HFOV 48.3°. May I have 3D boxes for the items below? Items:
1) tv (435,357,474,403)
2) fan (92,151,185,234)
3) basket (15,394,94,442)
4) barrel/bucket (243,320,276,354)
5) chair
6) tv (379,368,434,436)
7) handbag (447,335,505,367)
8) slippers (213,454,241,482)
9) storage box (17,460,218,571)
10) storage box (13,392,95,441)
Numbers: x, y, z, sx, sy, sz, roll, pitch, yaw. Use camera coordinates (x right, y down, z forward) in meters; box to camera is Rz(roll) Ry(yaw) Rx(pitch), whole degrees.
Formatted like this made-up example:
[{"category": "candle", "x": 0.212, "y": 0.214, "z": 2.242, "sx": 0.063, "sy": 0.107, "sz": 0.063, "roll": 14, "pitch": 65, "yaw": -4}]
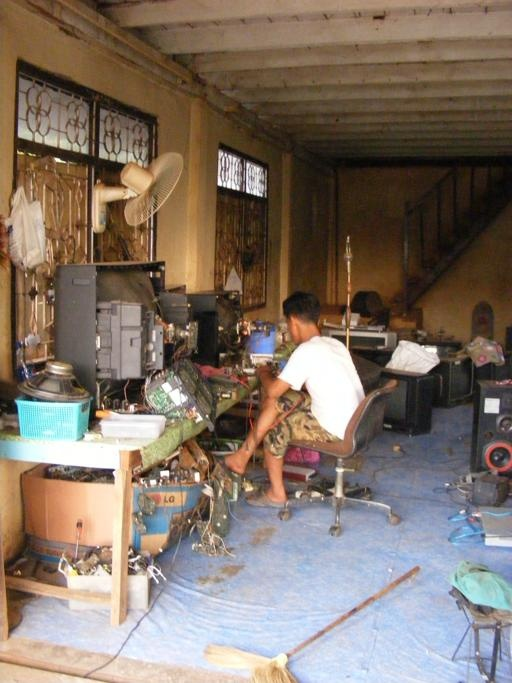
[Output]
[{"category": "tv", "x": 2.280, "y": 0.465, "z": 6.707, "sx": 0.561, "sy": 0.532, "sz": 0.316, "roll": -6, "pitch": 7, "yaw": -42}, {"category": "fan", "x": -0.762, "y": -0.878, "z": 3.427, "sx": 0.413, "sy": 0.591, "sz": 0.450, "roll": 11, "pitch": 24, "yaw": -26}, {"category": "basket", "x": -0.764, "y": 0.277, "z": 2.114, "sx": 0.217, "sy": 0.122, "sz": 0.162, "roll": 0, "pitch": 1, "yaw": -3}, {"category": "barrel/bucket", "x": 0.023, "y": -0.030, "z": 4.457, "sx": 0.228, "sy": 0.265, "sz": 0.231, "roll": 0, "pitch": -1, "yaw": 0}, {"category": "chair", "x": 0.573, "y": 0.615, "z": 3.456, "sx": 0.655, "sy": 0.823, "sz": 1.196, "roll": 0, "pitch": 3, "yaw": 24}, {"category": "tv", "x": 1.400, "y": 0.565, "z": 5.577, "sx": 0.317, "sy": 0.588, "sz": 0.604, "roll": -3, "pitch": 8, "yaw": -31}, {"category": "handbag", "x": 2.546, "y": 0.037, "z": 6.547, "sx": 0.466, "sy": 0.248, "sz": 0.470, "roll": -12, "pitch": 4, "yaw": -1}, {"category": "slippers", "x": -0.184, "y": 0.690, "z": 3.051, "sx": 0.052, "sy": 0.189, "sz": 0.202, "roll": -11, "pitch": -11, "yaw": 21}, {"category": "storage box", "x": -0.680, "y": 0.747, "z": 2.548, "sx": 0.610, "sy": 0.289, "sz": 0.423, "roll": 2, "pitch": 2, "yaw": 12}, {"category": "storage box", "x": -0.756, "y": 0.277, "z": 2.121, "sx": 0.214, "sy": 0.116, "sz": 0.164, "roll": 0, "pitch": 1, "yaw": -3}]
